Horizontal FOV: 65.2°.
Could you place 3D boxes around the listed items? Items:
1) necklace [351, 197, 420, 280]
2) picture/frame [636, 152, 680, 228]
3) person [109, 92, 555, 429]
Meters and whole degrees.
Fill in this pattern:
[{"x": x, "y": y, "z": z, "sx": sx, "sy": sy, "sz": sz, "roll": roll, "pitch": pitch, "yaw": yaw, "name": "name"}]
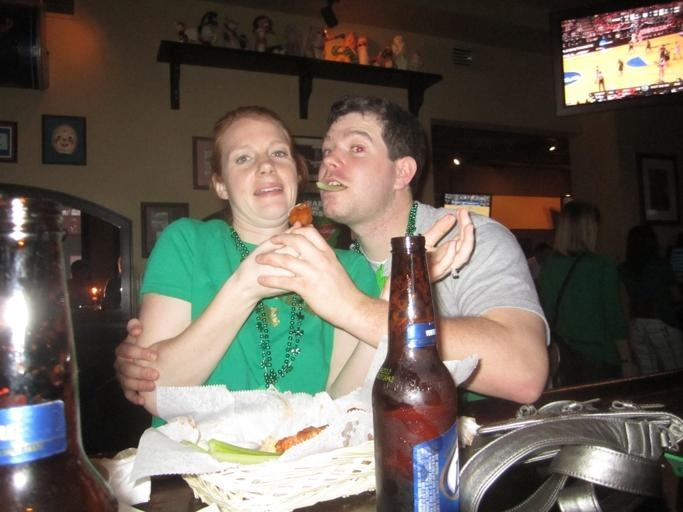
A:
[{"x": 0.212, "y": -0.047, "z": 2.057, "sx": 0.243, "sy": 0.336, "sz": 0.161, "roll": -8, "pitch": 26, "yaw": -20, "name": "necklace"}, {"x": 3.548, "y": -0.735, "z": 5.952, "sx": 0.577, "sy": 0.643, "sz": 0.097, "roll": -1, "pitch": -1, "yaw": -22, "name": "picture/frame"}, {"x": -0.063, "y": -0.017, "z": 1.983, "sx": 1.468, "sy": 1.233, "sz": 0.907, "roll": -2, "pitch": -17, "yaw": 21, "name": "person"}]
